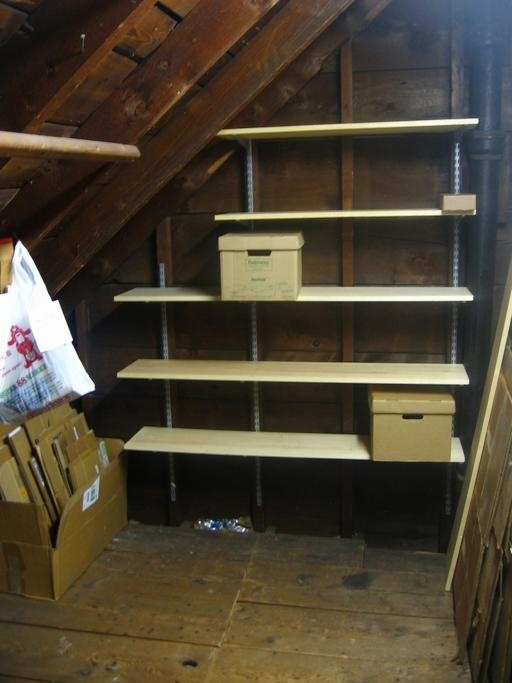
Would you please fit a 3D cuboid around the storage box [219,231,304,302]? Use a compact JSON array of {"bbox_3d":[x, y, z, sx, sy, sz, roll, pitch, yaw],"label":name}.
[{"bbox_3d":[0.078,-0.272,2.509,0.422,0.222,0.399,-3,6,-32],"label":"storage box"}]
